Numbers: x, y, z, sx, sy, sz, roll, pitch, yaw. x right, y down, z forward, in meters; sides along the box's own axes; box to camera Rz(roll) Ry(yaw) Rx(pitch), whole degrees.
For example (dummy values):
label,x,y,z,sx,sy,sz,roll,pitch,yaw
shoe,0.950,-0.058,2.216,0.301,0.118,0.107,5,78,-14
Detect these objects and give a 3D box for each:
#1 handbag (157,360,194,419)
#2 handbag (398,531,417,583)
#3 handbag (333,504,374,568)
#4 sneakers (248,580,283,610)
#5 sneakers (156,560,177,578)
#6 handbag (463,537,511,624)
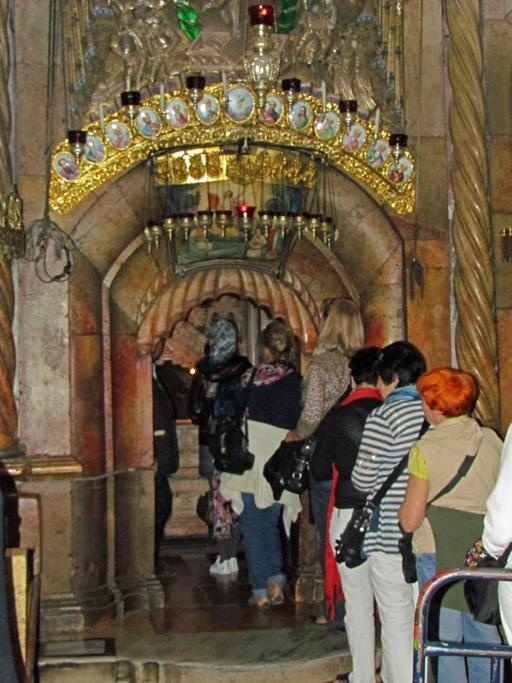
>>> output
label,x,y,z,sx,sy,sz,roll,pitch,yaw
handbag,-0.688,0.418,13.059,0.381,0.431,0.095,3,-8,41
handbag,0.670,0.997,6.926,0.044,0.193,0.129,0,4,-4
handbag,0.460,0.909,7.176,0.108,0.299,0.166,14,8,-41
sneakers,0.074,1.491,8.925,0.086,0.127,0.278,1,-8,-15
sneakers,-0.583,1.500,9.919,0.147,0.117,0.057,-11,-12,35
handbag,0.963,0.994,6.296,0.166,0.368,0.243,2,25,-12
